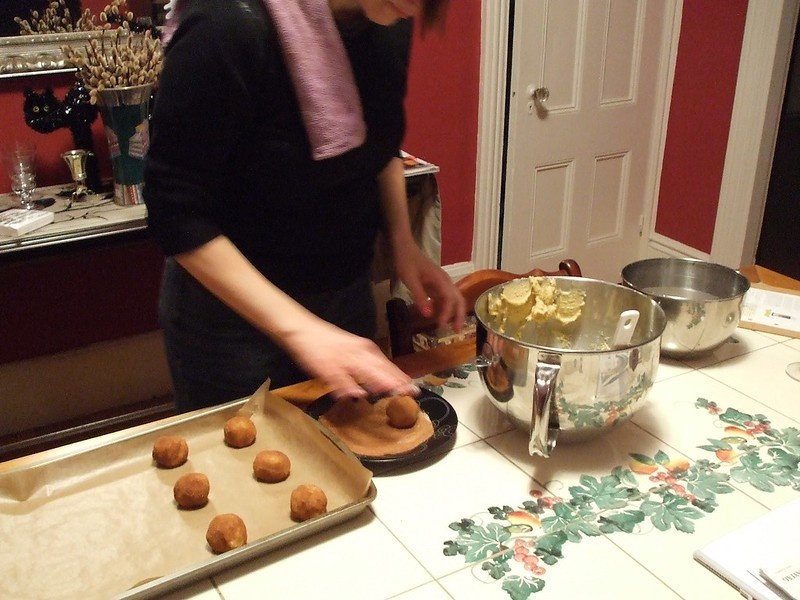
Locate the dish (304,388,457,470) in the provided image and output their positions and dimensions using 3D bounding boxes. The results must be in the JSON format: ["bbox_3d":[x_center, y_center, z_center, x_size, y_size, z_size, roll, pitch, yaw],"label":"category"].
[{"bbox_3d":[0.004,0.206,1.063,0.212,0.218,0.031,8,46,-7],"label":"dish"}]

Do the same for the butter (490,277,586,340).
[{"bbox_3d":[0.261,0.002,1.173,0.183,0.070,0.142,-4,29,14],"label":"butter"}]

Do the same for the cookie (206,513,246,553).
[{"bbox_3d":[-0.235,0.316,0.833,0.053,0.043,0.051,-2,0,2],"label":"cookie"}]

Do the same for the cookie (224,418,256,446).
[{"bbox_3d":[-0.271,0.221,1.018,0.046,0.036,0.047,23,30,38],"label":"cookie"}]

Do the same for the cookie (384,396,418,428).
[{"bbox_3d":[0.004,0.186,1.017,0.052,0.053,0.029,19,4,-13],"label":"cookie"}]

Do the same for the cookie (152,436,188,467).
[{"bbox_3d":[-0.369,0.244,0.987,0.048,0.039,0.050,-17,31,-19],"label":"cookie"}]

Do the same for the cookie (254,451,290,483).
[{"bbox_3d":[-0.197,0.258,0.946,0.048,0.034,0.049,4,14,8],"label":"cookie"}]

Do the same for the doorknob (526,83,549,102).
[{"bbox_3d":[0.659,-0.978,2.887,0.123,0.082,0.035,-20,37,-23],"label":"doorknob"}]

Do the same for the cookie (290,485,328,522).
[{"bbox_3d":[-0.132,0.291,0.874,0.048,0.039,0.051,-13,29,-26],"label":"cookie"}]
